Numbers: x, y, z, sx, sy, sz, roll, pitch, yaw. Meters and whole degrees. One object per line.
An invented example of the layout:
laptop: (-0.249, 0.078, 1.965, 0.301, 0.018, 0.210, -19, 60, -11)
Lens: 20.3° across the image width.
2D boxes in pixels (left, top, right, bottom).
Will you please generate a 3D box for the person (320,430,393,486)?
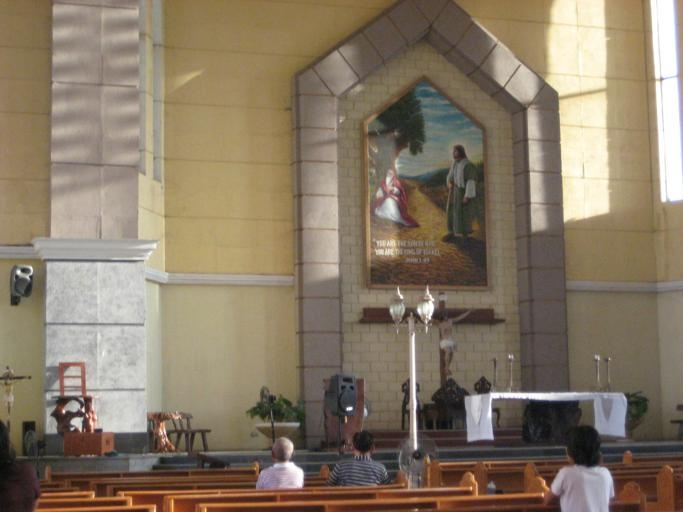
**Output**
person: (0.205, 3.098, 29.429, 0.772, 0.862, 0.669, 0, -7, -5)

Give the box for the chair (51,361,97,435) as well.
chair: (-4.828, 2.518, 34.298, 0.805, 1.301, 0.743, -1, -7, -9)

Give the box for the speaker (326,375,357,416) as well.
speaker: (-0.027, 2.313, 31.672, 0.401, 0.798, 0.693, 4, -10, -25)

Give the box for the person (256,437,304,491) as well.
person: (-0.944, 3.113, 29.067, 0.713, 1.398, 0.700, 2, 7, -6)

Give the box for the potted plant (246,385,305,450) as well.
potted plant: (-1.239, 3.017, 35.883, 0.948, 1.030, 0.995, 1, -11, 1)
